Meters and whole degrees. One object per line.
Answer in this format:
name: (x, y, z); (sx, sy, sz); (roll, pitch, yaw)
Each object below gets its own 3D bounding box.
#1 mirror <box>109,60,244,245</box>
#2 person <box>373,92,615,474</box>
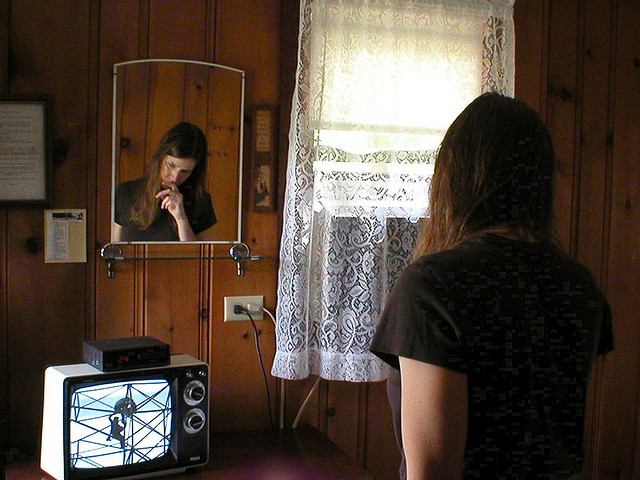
mirror: (-0.547, -0.337, 2.737); (0.646, 0.896, 0.031); (0, 1, -20)
person: (0.437, 0.110, 1.910); (0.556, 0.880, 0.280); (3, 1, 21)
